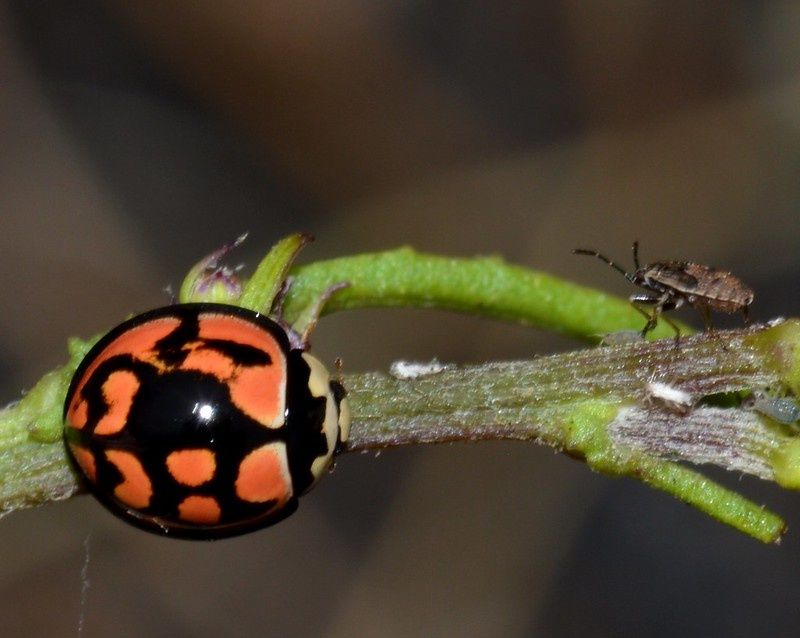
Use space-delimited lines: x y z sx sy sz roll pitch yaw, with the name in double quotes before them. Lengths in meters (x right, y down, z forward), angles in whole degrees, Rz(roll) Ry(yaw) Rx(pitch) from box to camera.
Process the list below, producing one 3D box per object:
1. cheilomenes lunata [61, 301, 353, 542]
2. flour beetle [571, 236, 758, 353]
"cheilomenes lunata" -0.409 0.230 1.980 0.615 0.232 0.566 7 94 -15
"flour beetle" 0.658 -0.053 2.168 0.216 0.229 0.442 -13 14 -30
